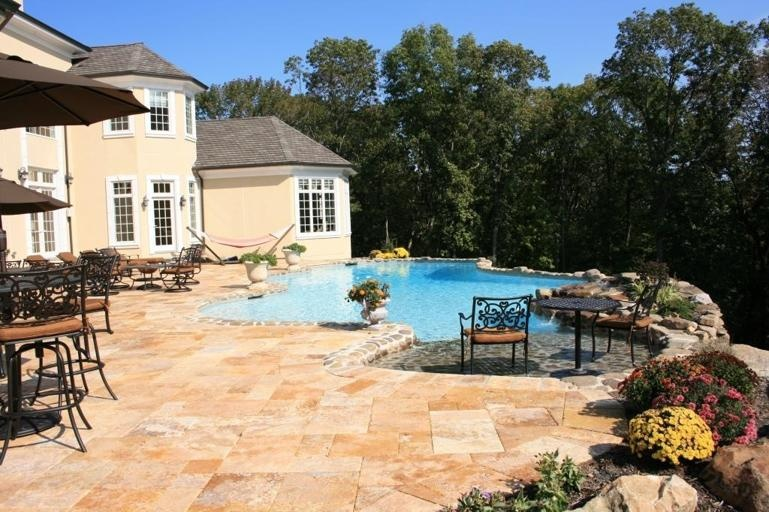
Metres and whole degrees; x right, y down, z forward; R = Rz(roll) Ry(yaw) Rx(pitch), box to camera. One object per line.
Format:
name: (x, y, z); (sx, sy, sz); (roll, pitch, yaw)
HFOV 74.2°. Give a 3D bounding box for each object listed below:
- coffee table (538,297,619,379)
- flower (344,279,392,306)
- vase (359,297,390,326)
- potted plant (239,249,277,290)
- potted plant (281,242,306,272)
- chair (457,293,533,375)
coffee table: (2.952, 1.296, 8.051); (1.596, 0.961, 1.457); (-1, 2, -10)
flower: (-0.317, 0.667, 9.633); (0.754, 0.412, 0.594); (0, -2, -5)
vase: (-0.198, 1.041, 9.671); (0.615, 0.376, 0.554); (0, -3, 1)
potted plant: (-3.792, 0.360, 15.227); (1.282, 1.013, 1.105); (0, -2, -10)
potted plant: (-3.588, -0.004, 19.863); (1.261, 1.019, 1.041); (-1, -2, -6)
chair: (1.865, 1.355, 8.532); (1.458, 1.460, 1.076); (0, 8, -3)
